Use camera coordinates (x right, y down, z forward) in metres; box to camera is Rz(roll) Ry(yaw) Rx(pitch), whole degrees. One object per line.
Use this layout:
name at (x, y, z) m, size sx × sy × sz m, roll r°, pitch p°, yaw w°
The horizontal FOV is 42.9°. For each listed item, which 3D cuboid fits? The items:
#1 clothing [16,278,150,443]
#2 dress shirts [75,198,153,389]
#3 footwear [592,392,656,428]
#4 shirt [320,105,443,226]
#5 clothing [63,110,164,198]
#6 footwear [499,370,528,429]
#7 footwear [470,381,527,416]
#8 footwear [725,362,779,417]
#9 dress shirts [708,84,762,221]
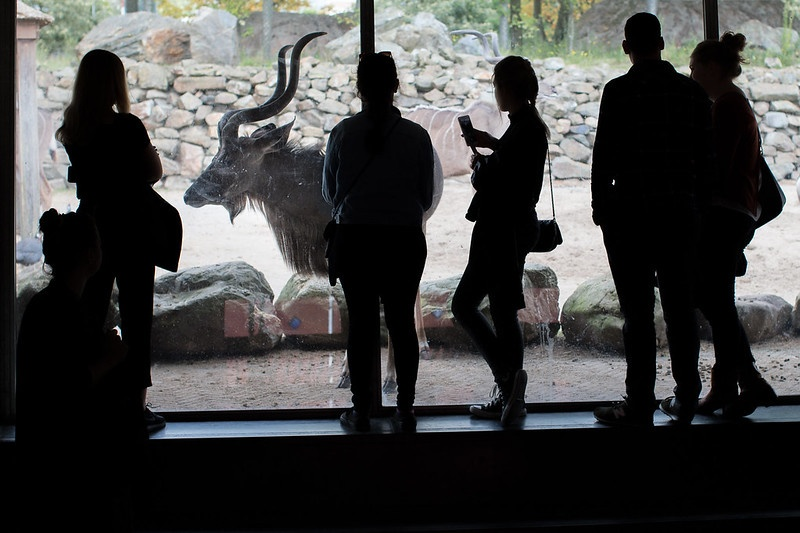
clothing at (-1.816, 0.620, 5.928) m, size 0.858 × 1.025 × 0.843 m, roll 2°, pitch -3°, yaw 0°
dress shirts at (-1.774, 0.034, 6.331) m, size 0.444 × 1.536 × 0.400 m, roll 2°, pitch 7°, yaw 4°
footwear at (1.373, 0.858, 6.178) m, size 0.410 × 0.172 × 0.146 m, roll 3°, pitch 11°, yaw 28°
shirt at (-0.104, -0.602, 6.274) m, size 0.752 × 0.676 × 0.495 m, roll 3°, pitch 8°, yaw 8°
clothing at (-1.782, -0.675, 6.231) m, size 0.730 × 0.641 × 0.377 m, roll -3°, pitch 15°, yaw -3°
footwear at (0.697, 0.784, 6.191) m, size 0.152 × 0.329 × 0.160 m, roll -1°, pitch 9°, yaw 1°
footwear at (0.576, 0.863, 6.441) m, size 0.416 × 0.255 × 0.158 m, roll 3°, pitch -10°, yaw 13°
footwear at (2.165, 0.756, 6.217) m, size 0.275 × 0.317 × 0.131 m, roll 16°, pitch 0°, yaw 2°
dress shirts at (2.056, -0.696, 6.215) m, size 0.292 × 0.793 × 0.233 m, roll 1°, pitch 9°, yaw 9°
